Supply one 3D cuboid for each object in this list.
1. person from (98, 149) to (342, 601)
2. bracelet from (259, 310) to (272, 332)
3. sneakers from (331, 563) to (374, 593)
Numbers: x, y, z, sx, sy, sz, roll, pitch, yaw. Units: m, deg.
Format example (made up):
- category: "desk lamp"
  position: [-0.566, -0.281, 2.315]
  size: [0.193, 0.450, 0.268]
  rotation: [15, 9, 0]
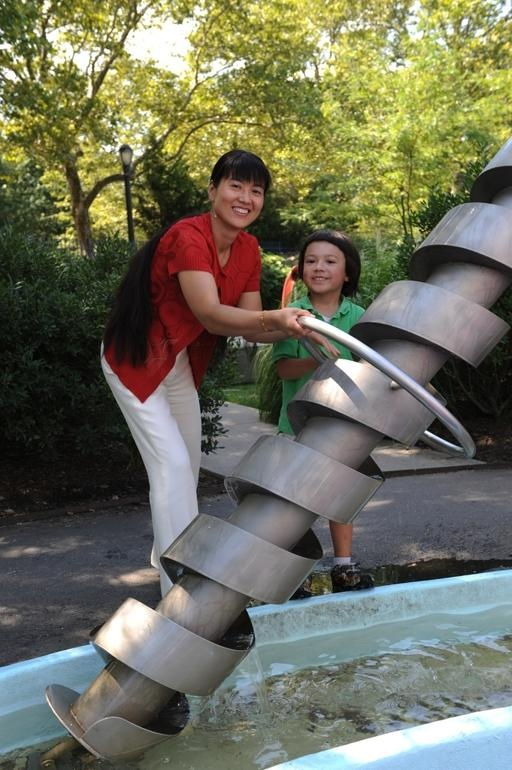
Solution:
- category: "person"
  position: [-0.203, 0.018, 2.144]
  size: [0.617, 1.572, 1.303]
  rotation: [-5, 0, -14]
- category: "bracelet"
  position: [0.020, -0.162, 1.593]
  size: [0.016, 0.038, 0.037]
  rotation: [-5, -17, 10]
- category: "sneakers"
  position: [0.418, 0.864, 2.778]
  size: [0.242, 0.154, 0.082]
  rotation: [0, -3, 5]
